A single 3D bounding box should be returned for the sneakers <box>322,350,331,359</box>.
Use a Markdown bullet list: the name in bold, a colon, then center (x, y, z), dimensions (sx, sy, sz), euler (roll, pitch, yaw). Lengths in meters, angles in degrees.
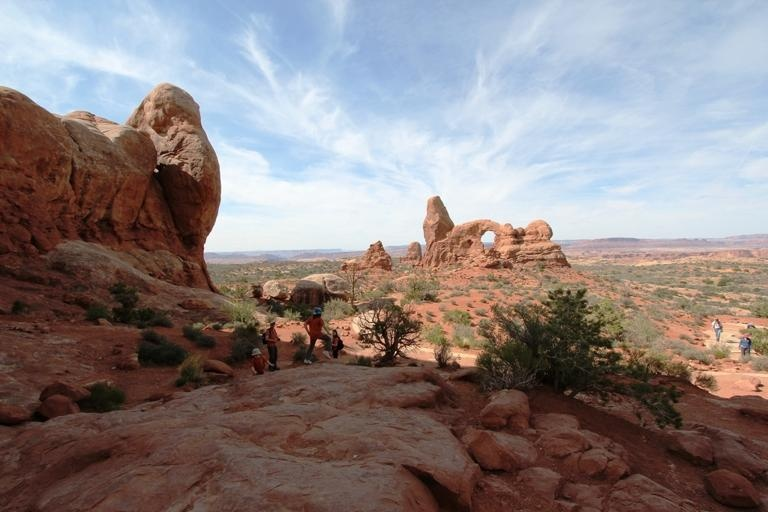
- **sneakers**: center (-1.994, 3.459, 13.363), dimensions (0.192, 0.134, 0.431), euler (-21, 40, -33)
